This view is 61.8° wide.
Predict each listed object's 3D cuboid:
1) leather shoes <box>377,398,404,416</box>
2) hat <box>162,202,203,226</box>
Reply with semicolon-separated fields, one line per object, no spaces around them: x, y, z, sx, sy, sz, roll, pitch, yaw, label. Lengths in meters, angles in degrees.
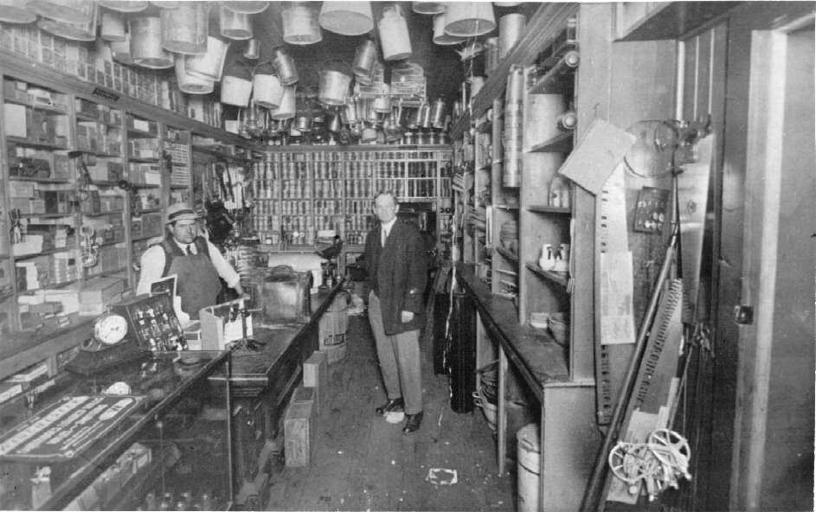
-0.154;1.359;6.205;0.300;0.113;0.103;0;2;-10;leather shoes
-1.963;-0.367;5.890;0.369;0.127;0.297;-9;3;-22;hat
